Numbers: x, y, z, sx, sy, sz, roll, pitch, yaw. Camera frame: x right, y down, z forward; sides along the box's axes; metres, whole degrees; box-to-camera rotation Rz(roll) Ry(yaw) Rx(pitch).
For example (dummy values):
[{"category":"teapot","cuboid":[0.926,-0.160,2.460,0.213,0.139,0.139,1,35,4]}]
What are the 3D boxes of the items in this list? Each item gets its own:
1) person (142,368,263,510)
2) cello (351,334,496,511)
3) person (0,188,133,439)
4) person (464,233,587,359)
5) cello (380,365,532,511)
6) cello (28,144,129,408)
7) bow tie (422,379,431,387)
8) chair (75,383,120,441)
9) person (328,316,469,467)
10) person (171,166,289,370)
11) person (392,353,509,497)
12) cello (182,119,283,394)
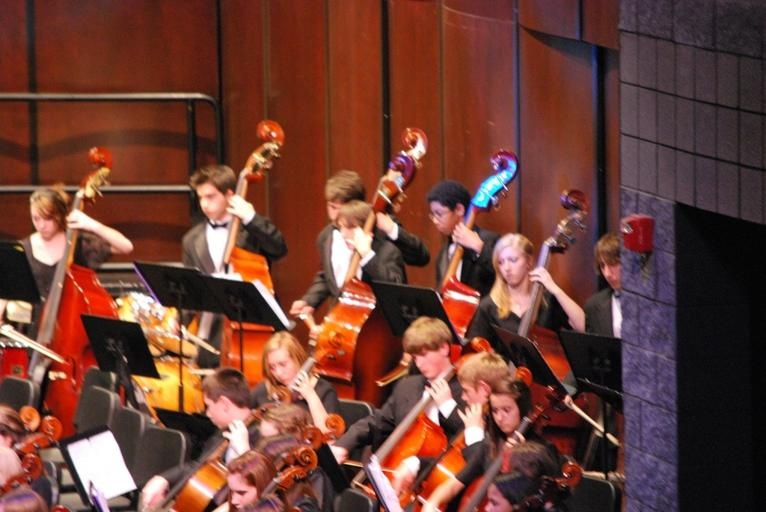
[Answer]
[{"category":"person","cuboid":[-0.992,0.986,4.840,0.427,0.298,0.875,25,52,40]},{"category":"cello","cuboid":[0.291,0.848,4.956,0.320,1.066,0.482,33,-17,16]},{"category":"person","cuboid":[-2.308,0.426,6.545,0.840,1.826,0.602,-6,-11,18]},{"category":"person","cuboid":[0.944,0.274,5.782,0.494,1.032,0.352,4,-12,45]},{"category":"cello","cuboid":[0.461,0.960,4.858,0.308,1.003,0.479,47,-13,-11]},{"category":"cello","cuboid":[-2.261,0.091,6.594,0.592,1.601,0.311,12,-12,-6]},{"category":"bow tie","cuboid":[0.259,0.744,5.130,0.048,0.031,0.051,35,-1,-36]},{"category":"chair","cuboid":[-1.686,0.934,5.225,0.182,0.321,0.166,-20,-42,40]},{"category":"person","cuboid":[0.145,0.768,5.070,0.338,1.087,0.478,25,-2,-22]},{"category":"person","cuboid":[-1.189,-0.015,6.497,0.443,1.477,0.709,15,22,41]},{"category":"person","cuboid":[0.308,0.823,4.741,0.258,0.894,0.422,35,-5,-13]},{"category":"cello","cuboid":[-1.053,-0.045,6.296,0.743,1.901,0.630,-2,-4,-8]}]
